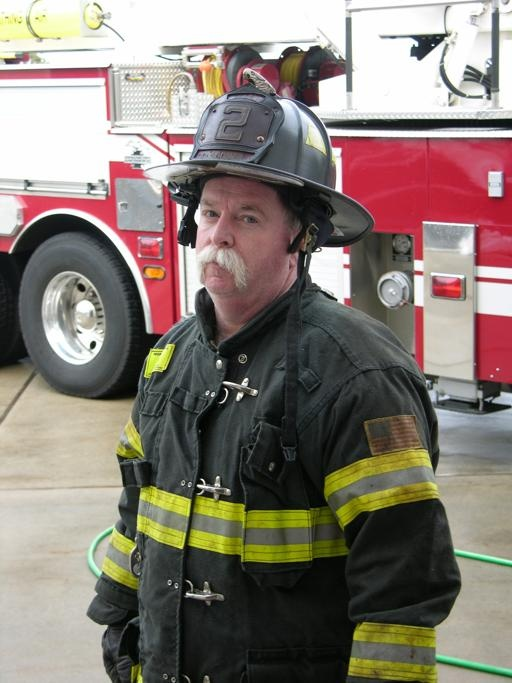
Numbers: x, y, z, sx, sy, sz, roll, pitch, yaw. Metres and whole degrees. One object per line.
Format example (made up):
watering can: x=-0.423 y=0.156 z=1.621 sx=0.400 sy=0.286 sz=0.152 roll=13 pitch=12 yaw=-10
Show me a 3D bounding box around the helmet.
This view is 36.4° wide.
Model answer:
helmet: x=0.018 y=-0.350 z=1.596 sx=0.383 sy=0.281 sz=0.433 roll=1 pitch=-13 yaw=30
